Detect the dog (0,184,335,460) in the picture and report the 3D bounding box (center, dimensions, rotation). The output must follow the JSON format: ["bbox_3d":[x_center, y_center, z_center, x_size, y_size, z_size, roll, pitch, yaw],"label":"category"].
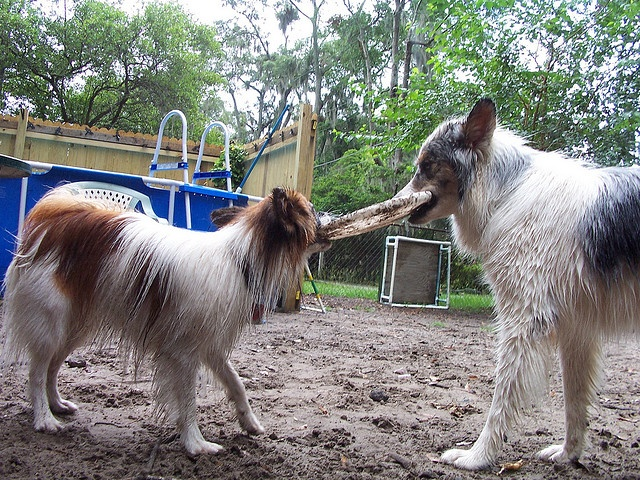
[{"bbox_3d":[-1.229,0.680,3.405,1.833,1.495,0.873,4,-8,3],"label":"dog"}]

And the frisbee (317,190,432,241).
[{"bbox_3d":[0.383,-0.166,3.318,0.563,0.088,0.463,-23,-9,-4],"label":"frisbee"}]
